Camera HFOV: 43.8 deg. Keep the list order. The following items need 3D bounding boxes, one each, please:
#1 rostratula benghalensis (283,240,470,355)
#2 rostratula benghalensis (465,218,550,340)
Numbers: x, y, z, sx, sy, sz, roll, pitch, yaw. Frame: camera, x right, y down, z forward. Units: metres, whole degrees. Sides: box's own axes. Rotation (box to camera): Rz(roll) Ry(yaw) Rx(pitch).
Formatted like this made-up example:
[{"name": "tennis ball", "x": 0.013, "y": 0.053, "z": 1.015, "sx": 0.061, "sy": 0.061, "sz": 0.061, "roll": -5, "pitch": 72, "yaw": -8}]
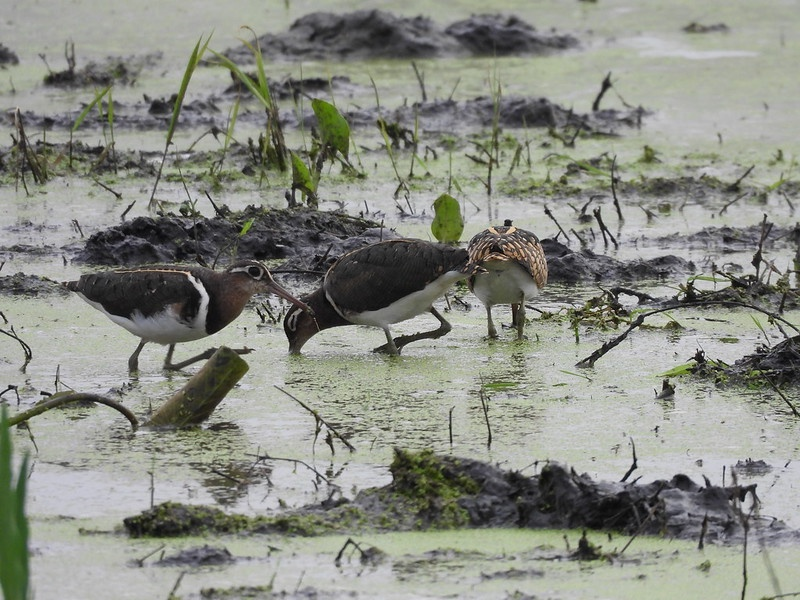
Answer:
[{"name": "rostratula benghalensis", "x": -0.092, "y": -0.030, "z": 8.330, "sx": 1.430, "sy": 0.936, "sz": 0.413, "roll": 5, "pitch": 14, "yaw": 32}, {"name": "rostratula benghalensis", "x": 0.917, "y": -0.134, "z": 8.573, "sx": 0.663, "sy": 0.931, "sz": 0.631, "roll": -1, "pitch": 12, "yaw": 4}]
